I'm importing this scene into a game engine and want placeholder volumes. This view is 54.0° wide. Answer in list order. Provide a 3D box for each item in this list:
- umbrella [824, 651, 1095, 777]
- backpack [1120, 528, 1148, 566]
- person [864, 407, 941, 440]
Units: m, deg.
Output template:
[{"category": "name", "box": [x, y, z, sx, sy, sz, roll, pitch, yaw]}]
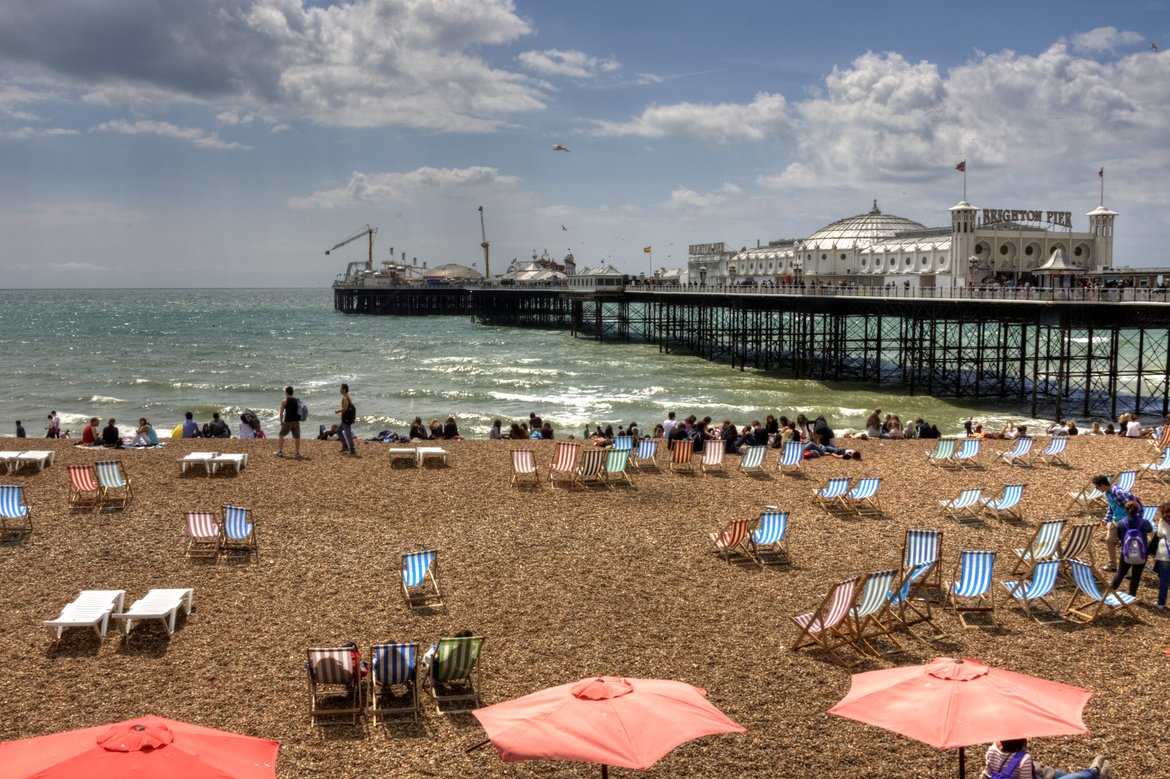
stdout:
[{"category": "umbrella", "box": [4.062, 3.338, 12.284, 1.522, 1.018, 1.514, 0, -1, 36]}, {"category": "backpack", "box": [7.585, 2.193, 15.925, 0.362, 0.481, 0.461, -1, 6, 17]}, {"category": "person", "box": [7.505, 0.881, 27.378, 1.676, 0.691, 1.008, 7, -5, 23]}]
